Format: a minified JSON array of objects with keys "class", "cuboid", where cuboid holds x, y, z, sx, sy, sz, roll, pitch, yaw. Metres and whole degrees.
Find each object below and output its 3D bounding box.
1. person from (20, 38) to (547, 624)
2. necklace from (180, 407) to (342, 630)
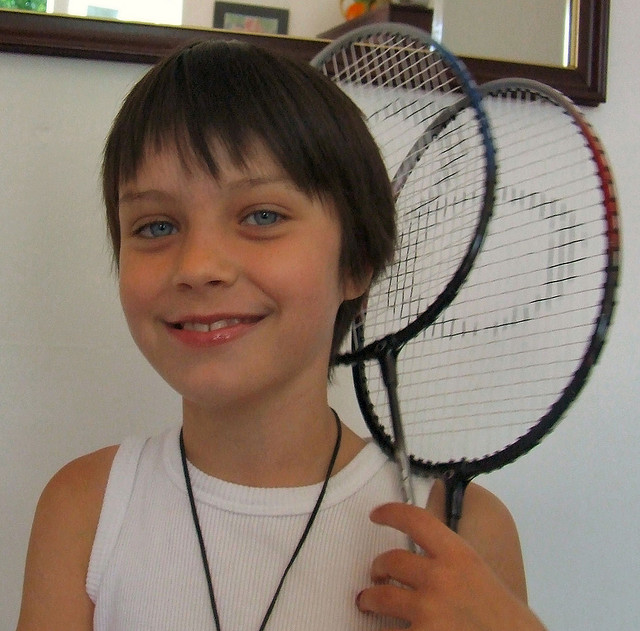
[{"class":"person","cuboid":[-0.098,0.026,0.890,0.608,0.726,0.243,-7,-6,8]},{"class":"necklace","cuboid":[-0.058,0.247,0.902,0.205,0.235,0.127,-5,-6,-11]}]
